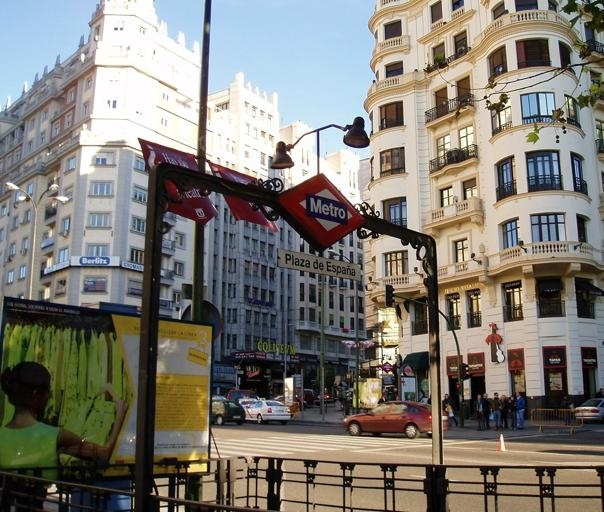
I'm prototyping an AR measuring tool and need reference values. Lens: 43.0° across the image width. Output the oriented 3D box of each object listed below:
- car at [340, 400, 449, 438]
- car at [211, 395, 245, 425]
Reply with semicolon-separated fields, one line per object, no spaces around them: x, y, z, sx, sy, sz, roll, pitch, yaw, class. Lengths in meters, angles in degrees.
3.515;6.294;30.476;5.112;1.864;2.398;-5;-11;40;car
-3.870;8.042;39.771;1.622;1.357;1.259;1;-18;-3;car
